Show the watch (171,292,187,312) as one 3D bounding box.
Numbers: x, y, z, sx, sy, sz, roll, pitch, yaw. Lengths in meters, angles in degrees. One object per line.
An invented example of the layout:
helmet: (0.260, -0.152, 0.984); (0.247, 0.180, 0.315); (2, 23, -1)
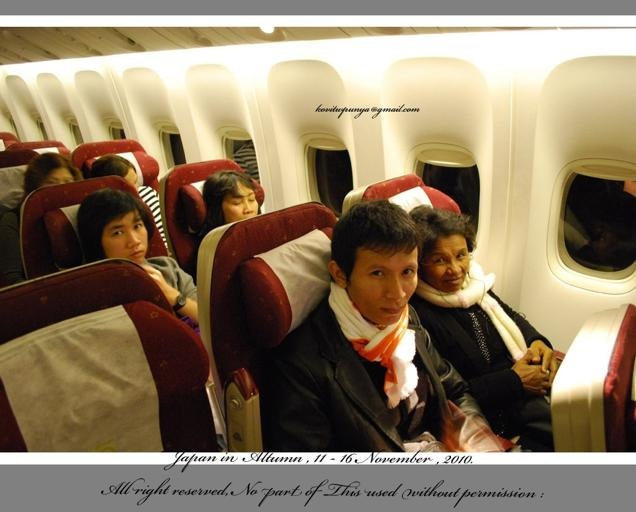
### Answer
watch: (-0.679, 0.228, 2.361); (0.072, 0.055, 0.082); (-27, 47, 33)

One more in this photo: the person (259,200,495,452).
person: (0.223, 0.349, 1.858); (0.944, 1.096, 0.366); (-12, 17, -23)
